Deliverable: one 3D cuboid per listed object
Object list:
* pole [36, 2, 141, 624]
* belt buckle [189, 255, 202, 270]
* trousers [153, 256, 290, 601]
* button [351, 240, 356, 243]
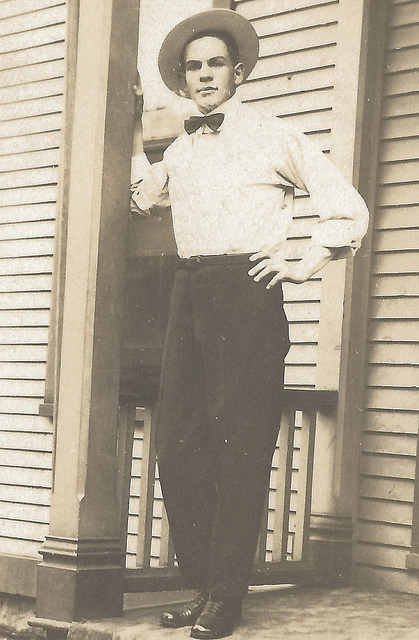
[{"bbox_3d":[-0.393,-0.056,4.800,0.279,2.062,0.262,2,-5,-6],"label":"pole"},{"bbox_3d":[-0.045,-0.187,4.711,0.033,0.043,0.008,-3,-8,41],"label":"belt buckle"},{"bbox_3d":[0.018,0.334,4.625,0.452,1.075,0.177,-1,-5,33],"label":"trousers"},{"bbox_3d":[0.450,-0.249,4.619,0.012,0.008,0.003,5,-5,-14],"label":"button"}]
